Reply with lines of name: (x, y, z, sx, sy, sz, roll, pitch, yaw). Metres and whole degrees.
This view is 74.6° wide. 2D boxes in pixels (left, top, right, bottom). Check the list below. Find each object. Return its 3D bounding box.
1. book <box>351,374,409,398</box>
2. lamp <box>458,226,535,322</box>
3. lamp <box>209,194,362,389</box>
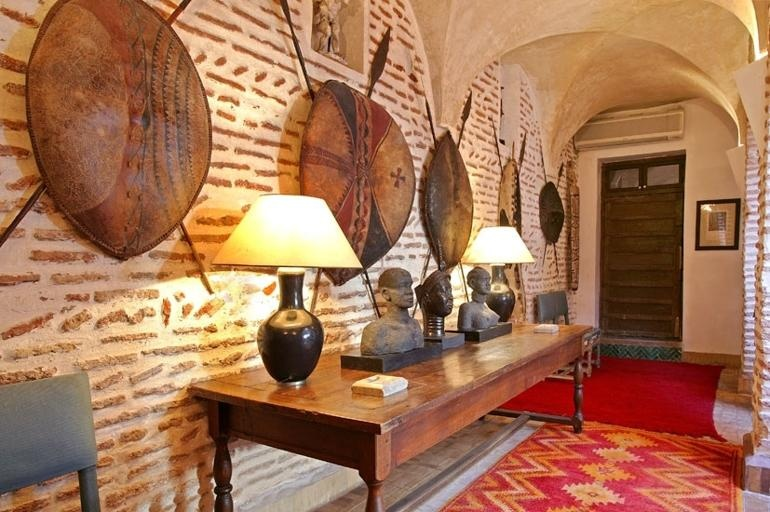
book: (-0.032, 0.678, 2.623, 0.277, 0.067, 0.147, 1, 2, 6)
lamp: (1.062, 0.170, 4.781, 0.833, 0.974, 0.821, -3, -6, 34)
lamp: (-0.522, 0.180, 2.678, 0.710, 1.029, 0.273, 1, 3, 7)
